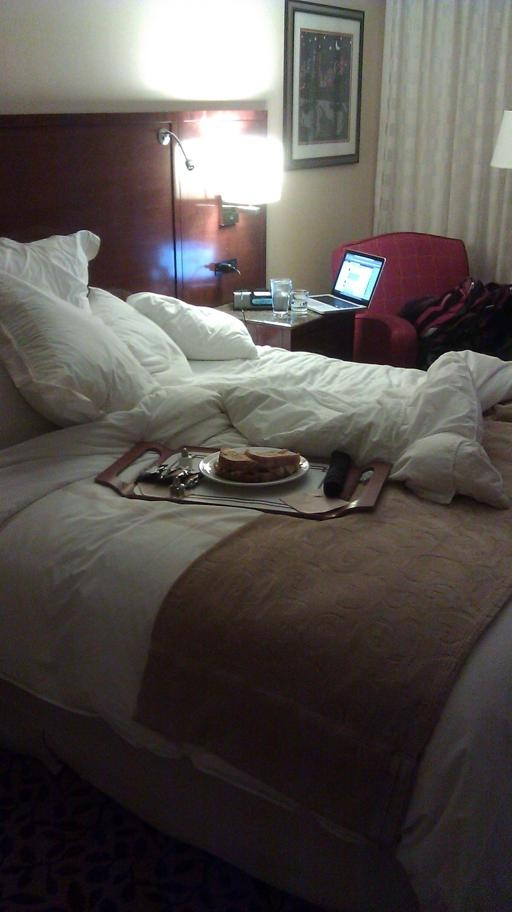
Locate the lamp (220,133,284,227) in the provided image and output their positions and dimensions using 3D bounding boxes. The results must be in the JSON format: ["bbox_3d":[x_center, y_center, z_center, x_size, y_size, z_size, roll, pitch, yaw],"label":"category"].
[{"bbox_3d":[-0.038,-1.367,2.904,0.300,0.251,0.310,-13,22,-34],"label":"lamp"}]

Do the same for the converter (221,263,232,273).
[{"bbox_3d":[-0.142,-0.927,3.028,0.030,0.059,0.049,9,3,31],"label":"converter"}]

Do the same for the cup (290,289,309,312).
[{"bbox_3d":[0.215,-0.749,2.993,0.118,0.134,0.079,7,12,31],"label":"cup"}]

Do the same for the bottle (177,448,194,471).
[{"bbox_3d":[-0.164,0.012,1.416,0.031,0.061,0.033,2,16,-1],"label":"bottle"}]

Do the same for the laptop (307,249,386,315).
[{"bbox_3d":[0.428,-0.902,3.146,0.427,0.264,0.500,-1,24,-4],"label":"laptop"}]
